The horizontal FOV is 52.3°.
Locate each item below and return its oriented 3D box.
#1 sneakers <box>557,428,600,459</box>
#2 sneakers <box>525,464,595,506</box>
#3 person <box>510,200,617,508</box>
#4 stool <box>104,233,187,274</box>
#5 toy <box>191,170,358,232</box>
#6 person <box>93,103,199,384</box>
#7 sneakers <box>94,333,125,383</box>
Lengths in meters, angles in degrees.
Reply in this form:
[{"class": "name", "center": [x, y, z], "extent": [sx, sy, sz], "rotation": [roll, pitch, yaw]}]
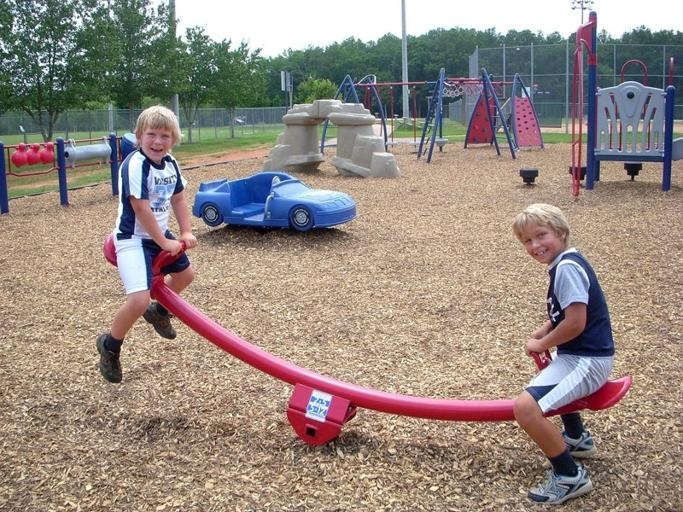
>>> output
[{"class": "sneakers", "center": [1.399, 1.111, 4.069], "extent": [0.296, 0.125, 0.108], "rotation": [7, 12, 35]}, {"class": "sneakers", "center": [1.198, 1.273, 3.902], "extent": [0.433, 0.175, 0.148], "rotation": [-16, -6, -5]}, {"class": "person", "center": [1.215, 0.530, 3.849], "extent": [0.552, 1.577, 0.535], "rotation": [1, 14, 13]}, {"class": "stool", "center": [-1.337, -0.018, 4.525], "extent": [0.412, 0.132, 0.312], "rotation": [10, 0, 12]}, {"class": "toy", "center": [-0.897, -0.673, 8.991], "extent": [1.729, 0.508, 0.985], "rotation": [4, 13, 17]}, {"class": "person", "center": [-1.332, -0.042, 4.636], "extent": [0.695, 1.866, 0.594], "rotation": [-6, 15, -16]}, {"class": "sneakers", "center": [-1.548, 0.696, 4.634], "extent": [0.142, 0.365, 0.155], "rotation": [-13, -23, -40]}]
